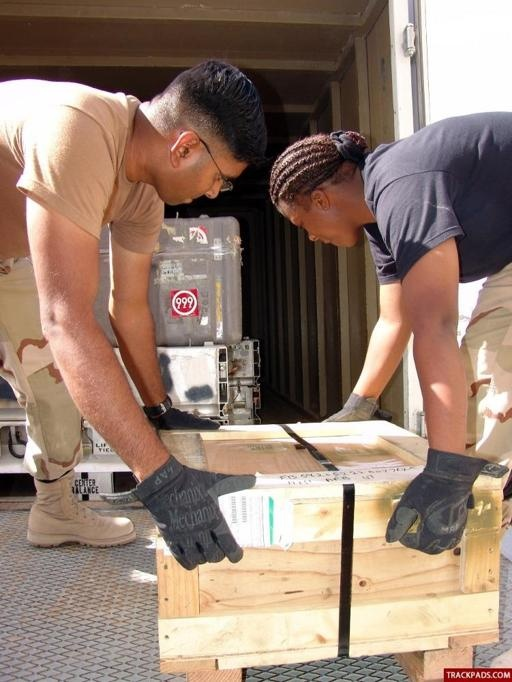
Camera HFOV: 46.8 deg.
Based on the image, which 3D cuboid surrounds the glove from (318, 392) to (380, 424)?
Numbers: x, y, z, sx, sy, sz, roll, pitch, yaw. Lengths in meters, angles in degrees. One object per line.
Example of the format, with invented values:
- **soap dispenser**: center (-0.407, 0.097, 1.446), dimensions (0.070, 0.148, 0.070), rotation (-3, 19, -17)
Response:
- **glove**: center (0.353, 0.238, 2.073), dimensions (0.252, 0.096, 0.075), rotation (-2, 0, -6)

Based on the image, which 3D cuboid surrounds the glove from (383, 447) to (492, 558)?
- **glove**: center (0.387, 0.349, 1.261), dimensions (0.234, 0.243, 0.087), rotation (-2, 2, -16)

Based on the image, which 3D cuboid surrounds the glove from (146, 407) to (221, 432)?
- **glove**: center (-0.250, 0.252, 1.996), dimensions (0.284, 0.093, 0.088), rotation (0, 4, -2)

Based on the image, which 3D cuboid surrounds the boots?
- **boots**: center (-0.630, 0.666, 2.427), dimensions (0.547, 0.362, 0.188), rotation (1, 6, -12)

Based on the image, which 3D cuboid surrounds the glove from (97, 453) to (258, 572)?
- **glove**: center (-0.138, 0.333, 1.184), dimensions (0.243, 0.249, 0.073), rotation (-37, -1, -20)
